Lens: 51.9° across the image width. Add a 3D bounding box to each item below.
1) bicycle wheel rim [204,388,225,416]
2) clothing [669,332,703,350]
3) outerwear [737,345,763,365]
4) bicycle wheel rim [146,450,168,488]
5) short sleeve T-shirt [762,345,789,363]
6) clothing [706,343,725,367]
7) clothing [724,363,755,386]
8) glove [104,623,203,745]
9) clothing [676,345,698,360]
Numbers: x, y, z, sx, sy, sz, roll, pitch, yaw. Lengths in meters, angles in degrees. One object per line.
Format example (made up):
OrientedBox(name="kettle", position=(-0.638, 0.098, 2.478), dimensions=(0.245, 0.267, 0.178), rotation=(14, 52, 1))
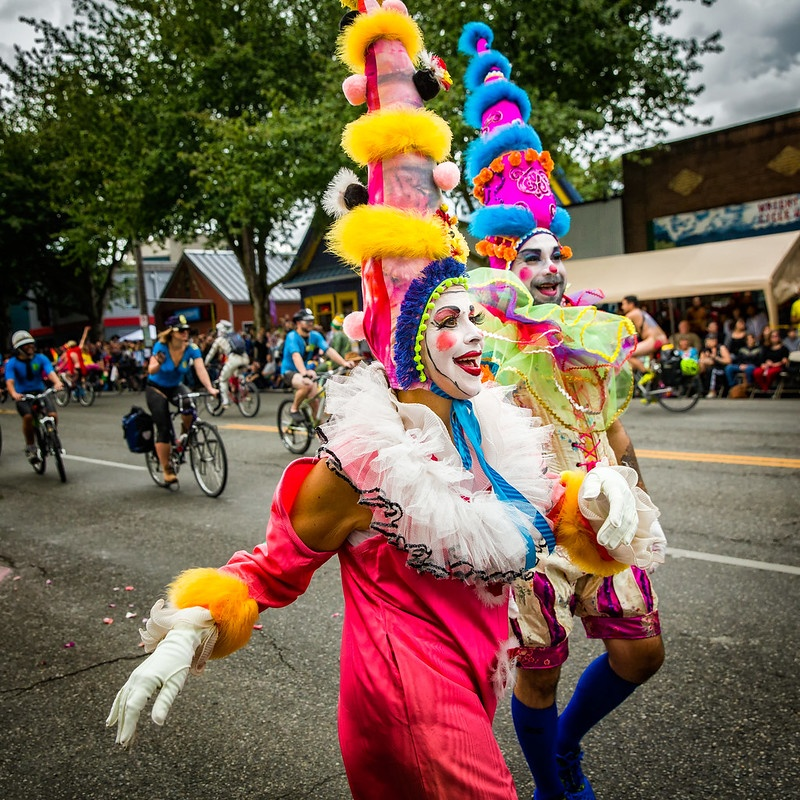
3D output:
OrientedBox(name="bicycle wheel rim", position=(-2.956, 0.075, 13.217), dimensions=(0.118, 0.424, 0.463), rotation=(-20, 5, -15))
OrientedBox(name="clothing", position=(4.921, -0.988, 14.158), dimensions=(0.507, 0.425, 0.265), rotation=(-4, -38, -3))
OrientedBox(name="outerwear", position=(5.592, -0.697, 13.102), dimensions=(0.204, 0.289, 0.325), rotation=(20, -14, -31))
OrientedBox(name="bicycle wheel rim", position=(-2.539, 0.737, 8.536), dimensions=(0.147, 0.339, 0.373), rotation=(-18, 28, -11))
OrientedBox(name="short sleeve T-shirt", position=(5.790, -0.666, 12.725), dimensions=(0.438, 0.363, 0.244), rotation=(3, -3, 40))
OrientedBox(name="clothing", position=(5.196, -0.707, 13.548), dimensions=(0.272, 0.386, 0.382), rotation=(7, -7, -19))
OrientedBox(name="clothing", position=(5.423, -0.392, 13.147), dimensions=(0.308, 0.358, 0.198), rotation=(3, 7, 10))
OrientedBox(name="glove", position=(-0.584, 0.680, 2.049), dimensions=(0.151, 0.117, 0.350), rotation=(-20, 31, 40))
OrientedBox(name="clothing", position=(4.602, -0.742, 13.226), dimensions=(0.229, 0.240, 0.255), rotation=(-24, -33, 15))
